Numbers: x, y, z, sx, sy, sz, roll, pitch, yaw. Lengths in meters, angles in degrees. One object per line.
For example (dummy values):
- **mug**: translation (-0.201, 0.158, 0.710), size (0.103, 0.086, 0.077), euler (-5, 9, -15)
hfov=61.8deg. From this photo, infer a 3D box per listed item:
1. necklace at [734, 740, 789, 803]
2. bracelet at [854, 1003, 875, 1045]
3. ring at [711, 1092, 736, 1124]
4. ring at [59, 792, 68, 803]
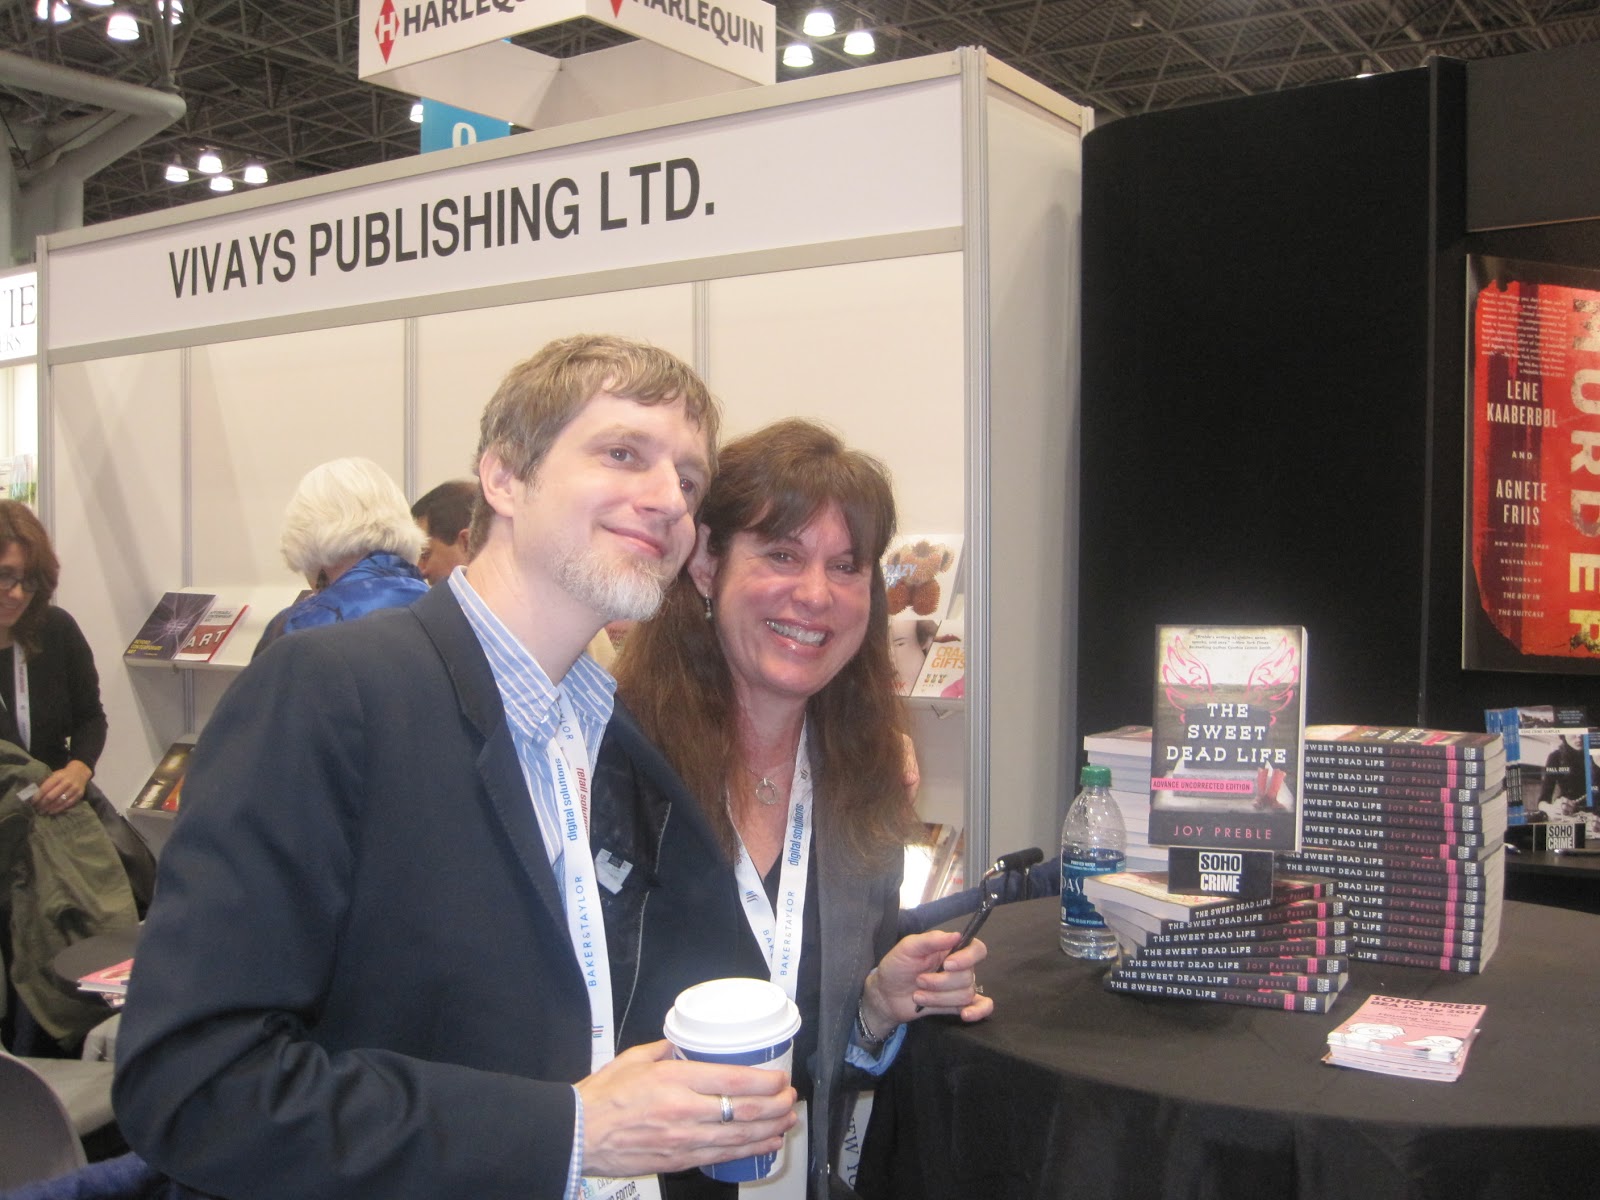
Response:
- **necklace**: translation (-0.063, 0.308, 2.505), size (0.081, 0.127, 0.028), euler (0, -2, -2)
- **bracelet**: translation (0.121, 0.754, 2.383), size (0.040, 0.061, 0.021), euler (-2, -8, -5)
- **ring**: translation (-0.101, 0.694, 1.826), size (0.023, 0.036, 0.034), euler (-7, 1, -19)
- **ring**: translation (-2.412, 0.640, 4.375), size (0.031, 0.031, 0.007), euler (4, -7, -38)
